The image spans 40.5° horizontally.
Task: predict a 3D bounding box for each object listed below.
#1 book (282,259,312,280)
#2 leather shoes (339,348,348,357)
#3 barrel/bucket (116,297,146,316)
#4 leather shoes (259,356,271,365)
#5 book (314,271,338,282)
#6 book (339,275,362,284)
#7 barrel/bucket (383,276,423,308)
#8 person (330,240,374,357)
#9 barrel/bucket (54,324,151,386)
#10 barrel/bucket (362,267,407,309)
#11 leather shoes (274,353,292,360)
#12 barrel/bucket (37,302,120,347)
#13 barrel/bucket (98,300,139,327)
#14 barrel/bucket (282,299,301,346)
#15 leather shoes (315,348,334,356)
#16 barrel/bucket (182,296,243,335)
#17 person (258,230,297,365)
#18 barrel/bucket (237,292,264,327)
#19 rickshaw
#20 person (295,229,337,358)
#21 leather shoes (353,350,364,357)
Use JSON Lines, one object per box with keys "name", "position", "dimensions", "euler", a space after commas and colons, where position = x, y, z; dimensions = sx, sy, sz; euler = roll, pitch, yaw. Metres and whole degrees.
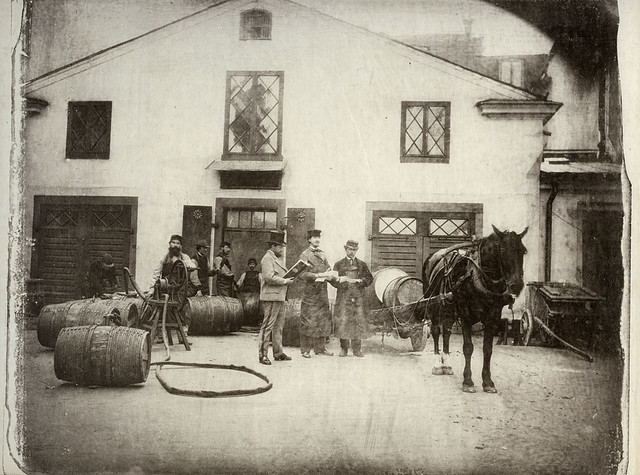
{"name": "book", "position": [-0.266, 0.387, 10.513], "dimensions": [0.328, 0.241, 0.191], "euler": [1, -2, 31]}
{"name": "leather shoes", "position": [0.277, 1.374, 10.361], "dimensions": [0.045, 0.107, 0.137], "euler": [-8, -20, 32]}
{"name": "barrel/bucket", "position": [-2.371, 0.821, 10.935], "dimensions": [0.300, 0.270, 0.255], "euler": [2, 16, 23]}
{"name": "leather shoes", "position": [-0.652, 1.464, 10.329], "dimensions": [0.149, 0.098, 0.145], "euler": [3, -2, -7]}
{"name": "book", "position": [0.075, 0.461, 10.519], "dimensions": [0.298, 0.124, 0.069], "euler": [2, -2, 21]}
{"name": "book", "position": [0.352, 0.512, 10.528], "dimensions": [0.289, 0.090, 0.075], "euler": [3, -2, -1]}
{"name": "barrel/bucket", "position": [1.004, 0.683, 10.549], "dimensions": [0.341, 0.416, 0.376], "euler": [18, -1, -11]}
{"name": "person", "position": [0.362, 0.717, 10.512], "dimensions": [0.416, 1.428, 0.527], "euler": [0, -1, -1]}
{"name": "barrel/bucket", "position": [-2.491, 1.345, 9.821], "dimensions": [0.994, 0.486, 0.224], "euler": [3, -2, 3]}
{"name": "barrel/bucket", "position": [0.798, 0.576, 10.569], "dimensions": [0.403, 0.530, 0.486], "euler": [-6, 4, -4]}
{"name": "leather shoes", "position": [-0.448, 1.419, 10.433], "dimensions": [0.189, 0.105, 0.088], "euler": [1, -4, -14]}
{"name": "barrel/bucket", "position": [-2.982, 0.952, 10.394], "dimensions": [0.790, 0.699, 0.674], "euler": [-4, 2, -8]}
{"name": "barrel/bucket", "position": [-2.484, 0.923, 10.751], "dimensions": [0.413, 0.377, 0.365], "euler": [0, 18, 13]}
{"name": "barrel/bucket", "position": [-0.361, 1.075, 11.088], "dimensions": [0.340, 0.513, 0.415], "euler": [1, -7, -3]}
{"name": "leather shoes", "position": [0.044, 1.401, 10.588], "dimensions": [0.217, 0.112, 0.086], "euler": [-5, -9, 22]}
{"name": "barrel/bucket", "position": [-1.386, 1.029, 11.398], "dimensions": [0.669, 0.614, 0.527], "euler": [0, -28, -15]}
{"name": "person", "position": [-0.570, 0.700, 10.565], "dimensions": [0.437, 1.566, 0.491], "euler": [0, -1, 29]}
{"name": "barrel/bucket", "position": [-0.965, 1.043, 12.318], "dimensions": [0.367, 0.457, 0.398], "euler": [2, -15, 1]}
{"name": "rickshaw", "position": [2.907, 0.932, 10.168], "dimensions": [0.684, 1.203, 1.077], "euler": [1, -2, -3]}
{"name": "person", "position": [-0.047, 0.685, 10.595], "dimensions": [0.372, 1.587, 0.403], "euler": [2, 4, -8]}
{"name": "leather shoes", "position": [0.458, 1.382, 10.333], "dimensions": [0.046, 0.064, 0.130], "euler": [2, -14, -15]}
